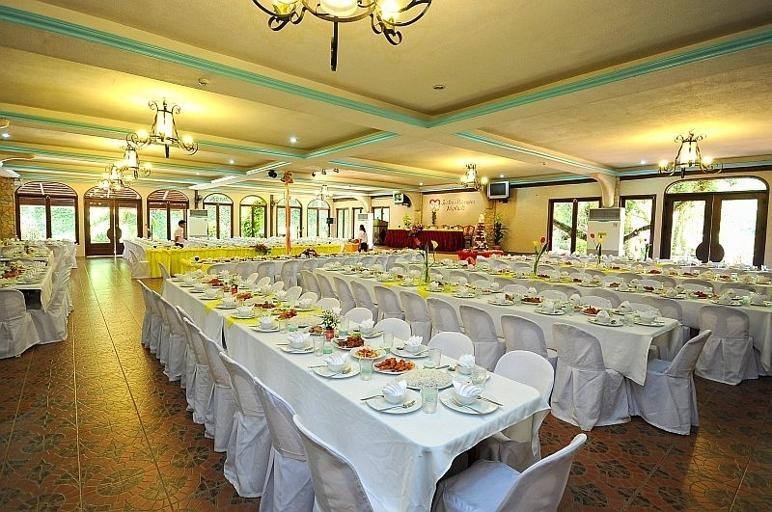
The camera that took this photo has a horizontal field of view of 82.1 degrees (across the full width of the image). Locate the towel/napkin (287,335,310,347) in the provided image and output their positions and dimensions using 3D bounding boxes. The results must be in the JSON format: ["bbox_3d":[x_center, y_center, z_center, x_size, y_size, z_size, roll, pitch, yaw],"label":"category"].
[{"bbox_3d":[-0.864,0.829,4.424,0.149,0.079,0.160,1,-2,3],"label":"towel/napkin"}]

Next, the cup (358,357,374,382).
[{"bbox_3d":[-0.207,1.016,3.938,0.162,0.164,0.154,-1,-1,0],"label":"cup"}]

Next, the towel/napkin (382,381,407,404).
[{"bbox_3d":[0.071,1.111,3.615,0.168,0.115,0.176,-2,-3,-2],"label":"towel/napkin"}]

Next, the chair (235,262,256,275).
[{"bbox_3d":[-3.066,0.259,9.664,0.270,0.273,0.294,8,17,10],"label":"chair"}]

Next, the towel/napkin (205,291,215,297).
[{"bbox_3d":[-2.367,0.502,5.986,0.103,0.067,0.099,0,-2,-5],"label":"towel/napkin"}]

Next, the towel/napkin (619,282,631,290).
[{"bbox_3d":[3.879,0.496,7.181,0.214,0.072,0.210,-3,2,-45],"label":"towel/napkin"}]

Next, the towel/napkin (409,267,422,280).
[{"bbox_3d":[0.553,0.335,8.235,0.167,0.156,0.121,12,-3,42],"label":"towel/napkin"}]

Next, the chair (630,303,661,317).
[{"bbox_3d":[3.391,0.693,5.795,0.315,0.132,0.300,-2,12,-11],"label":"chair"}]

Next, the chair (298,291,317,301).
[{"bbox_3d":[-1.007,0.529,5.753,0.153,0.176,0.141,1,-7,-10],"label":"chair"}]

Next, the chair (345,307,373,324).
[{"bbox_3d":[-0.307,0.708,5.320,0.240,0.288,0.228,4,0,22],"label":"chair"}]

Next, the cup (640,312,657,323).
[{"bbox_3d":[3.119,0.718,5.266,0.141,0.078,0.137,-2,0,0],"label":"cup"}]

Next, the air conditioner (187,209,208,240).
[{"bbox_3d":[-7.448,-1.299,17.490,0.790,1.056,0.538,-3,6,-32],"label":"air conditioner"}]

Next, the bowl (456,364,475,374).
[{"bbox_3d":[0.705,1.021,3.988,0.109,0.046,0.109,-1,-6,0],"label":"bowl"}]

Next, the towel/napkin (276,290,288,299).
[{"bbox_3d":[-1.391,0.513,5.865,0.108,0.074,0.108,-1,1,-30],"label":"towel/napkin"}]

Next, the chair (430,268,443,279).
[{"bbox_3d":[0.933,0.299,8.334,0.216,0.202,0.184,-14,22,-33],"label":"chair"}]

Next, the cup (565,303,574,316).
[{"bbox_3d":[2.366,0.699,5.667,0.123,0.140,0.123,0,-1,0],"label":"cup"}]

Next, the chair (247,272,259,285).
[{"bbox_3d":[-2.276,0.387,7.569,0.198,0.217,0.206,0,3,-7],"label":"chair"}]

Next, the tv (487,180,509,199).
[{"bbox_3d":[4.089,-2.433,16.170,0.401,0.584,0.729,0,2,-43],"label":"tv"}]

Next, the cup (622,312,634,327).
[{"bbox_3d":[2.884,0.767,5.291,0.133,0.136,0.128,0,1,0],"label":"cup"}]

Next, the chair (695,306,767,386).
[{"bbox_3d":[4.620,1.207,5.903,0.891,1.095,0.836,8,13,42],"label":"chair"}]

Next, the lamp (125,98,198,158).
[{"bbox_3d":[-4.181,-2.438,8.236,1.199,1.111,1.185,6,5,26],"label":"lamp"}]

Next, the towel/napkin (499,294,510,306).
[{"bbox_3d":[1.636,0.597,6.046,0.175,0.145,0.127,-1,2,19],"label":"towel/napkin"}]

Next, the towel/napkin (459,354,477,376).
[{"bbox_3d":[0.735,0.970,4.003,0.168,0.087,0.162,-4,9,-17],"label":"towel/napkin"}]

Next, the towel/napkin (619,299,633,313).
[{"bbox_3d":[3.043,0.624,5.666,0.159,0.151,0.124,-26,-9,40],"label":"towel/napkin"}]

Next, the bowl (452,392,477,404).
[{"bbox_3d":[0.657,1.166,3.689,0.140,0.059,0.133,1,6,0],"label":"bowl"}]

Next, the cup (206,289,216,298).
[{"bbox_3d":[-2.368,0.497,5.962,0.126,0.077,0.119,0,-4,0],"label":"cup"}]

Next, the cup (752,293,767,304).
[{"bbox_3d":[5.229,0.598,6.237,0.162,0.108,0.163,0,0,0],"label":"cup"}]

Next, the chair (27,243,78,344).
[{"bbox_3d":[-5.794,0.666,7.673,0.534,0.679,1.670,-5,13,-37],"label":"chair"}]

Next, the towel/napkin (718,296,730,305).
[{"bbox_3d":[4.744,0.614,6.234,0.135,0.069,0.129,-21,16,-12],"label":"towel/napkin"}]

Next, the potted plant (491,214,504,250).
[{"bbox_3d":[4.262,-0.959,16.852,0.395,1.240,0.290,1,5,14],"label":"potted plant"}]

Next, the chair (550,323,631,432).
[{"bbox_3d":[2.319,1.346,5.019,0.828,1.154,0.420,1,5,19],"label":"chair"}]

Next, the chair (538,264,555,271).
[{"bbox_3d":[3.450,0.253,9.578,0.224,0.148,0.217,-5,7,-41],"label":"chair"}]

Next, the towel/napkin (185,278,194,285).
[{"bbox_3d":[-3.014,0.383,6.786,0.100,0.064,0.096,-2,-7,11],"label":"towel/napkin"}]

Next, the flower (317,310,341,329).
[{"bbox_3d":[-0.630,0.662,4.693,0.194,0.193,0.192,1,14,19],"label":"flower"}]

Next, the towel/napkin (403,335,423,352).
[{"bbox_3d":[0.260,0.854,4.318,0.154,0.083,0.155,-3,4,-28],"label":"towel/napkin"}]
